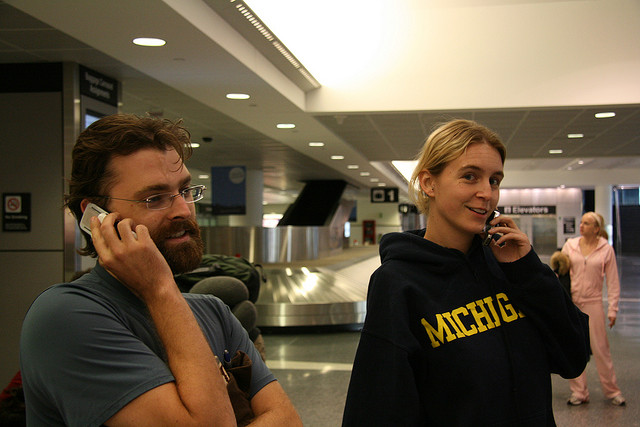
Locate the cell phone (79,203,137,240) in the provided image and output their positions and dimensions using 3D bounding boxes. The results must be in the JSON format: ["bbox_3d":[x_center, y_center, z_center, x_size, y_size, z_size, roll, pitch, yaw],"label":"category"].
[{"bbox_3d":[-0.868,0.021,1.955,0.229,0.126,0.048,35,21,15],"label":"cell phone"}]

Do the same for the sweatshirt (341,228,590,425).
[{"bbox_3d":[0.643,0.523,2.258,1.168,0.876,0.398,-2,0,-22],"label":"sweatshirt"}]

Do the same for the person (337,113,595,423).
[{"bbox_3d":[0.639,0.240,2.276,1.178,1.413,0.393,-2,0,-18],"label":"person"}]

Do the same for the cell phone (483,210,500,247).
[{"bbox_3d":[0.788,0.065,2.294,0.047,0.200,0.045,15,-3,-8],"label":"cell phone"}]

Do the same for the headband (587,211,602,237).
[{"bbox_3d":[3.271,0.101,5.853,0.203,0.209,0.159,3,-4,34],"label":"headband"}]
